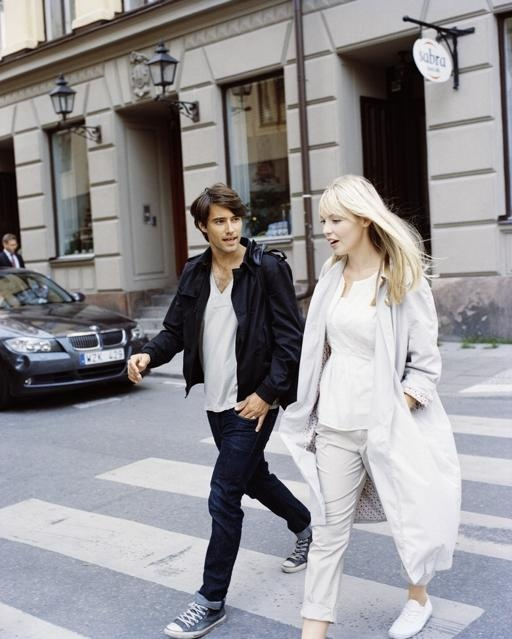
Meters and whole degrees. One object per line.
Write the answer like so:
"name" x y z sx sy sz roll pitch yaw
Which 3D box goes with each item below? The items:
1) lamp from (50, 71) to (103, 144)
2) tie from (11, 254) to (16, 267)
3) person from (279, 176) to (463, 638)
"lamp" -3.837 -4.524 13.747 0.937 1.553 1.512 -4 3 -12
"tie" -4.716 -1.151 12.538 0.069 0.239 0.216 -4 3 -7
"person" 0.353 0.249 2.099 0.562 1.441 0.392 -3 3 1
